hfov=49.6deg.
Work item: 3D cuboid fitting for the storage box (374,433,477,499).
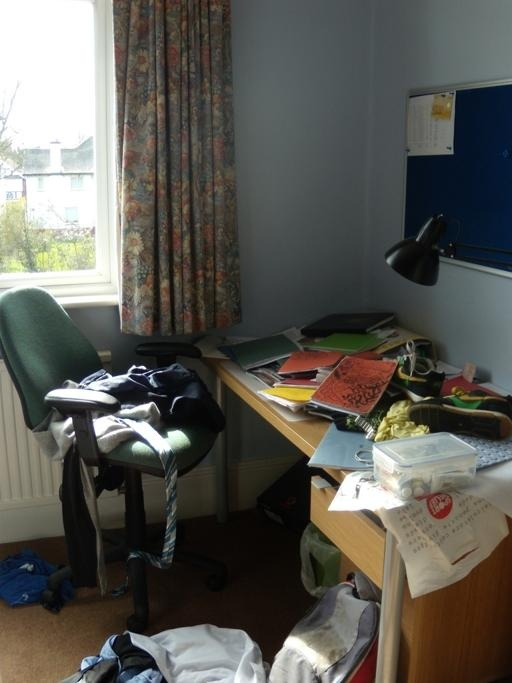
[{"bbox_3d":[0.255,0.169,0.876,0.125,0.051,0.085,-6,13,-24],"label":"storage box"}]

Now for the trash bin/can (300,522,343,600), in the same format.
[{"bbox_3d":[0.222,0.651,1.679,0.091,0.161,0.118,5,22,13],"label":"trash bin/can"}]

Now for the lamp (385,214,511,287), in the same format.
[{"bbox_3d":[0.531,-0.244,1.452,0.226,0.160,0.482,10,15,37],"label":"lamp"}]
